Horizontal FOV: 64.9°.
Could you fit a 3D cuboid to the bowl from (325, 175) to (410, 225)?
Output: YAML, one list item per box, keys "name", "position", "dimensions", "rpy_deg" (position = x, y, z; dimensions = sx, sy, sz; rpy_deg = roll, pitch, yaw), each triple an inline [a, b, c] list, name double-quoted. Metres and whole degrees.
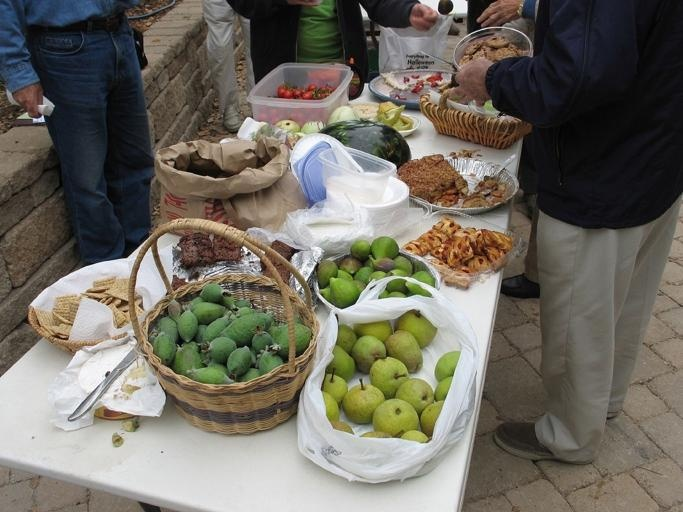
- name: "bowl"
  position: [0.161, -0.307, 2.817]
  dimensions: [0.305, 0.122, 0.308]
  rpy_deg: [6, 29, -4]

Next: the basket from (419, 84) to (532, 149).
- name: "basket"
  position: [0.813, -0.850, 3.437]
  dimensions: [0.493, 0.172, 0.499]
  rpy_deg: [23, 24, 22]

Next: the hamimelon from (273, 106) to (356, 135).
- name: "hamimelon"
  position: [-0.168, -0.857, 3.550]
  dimensions: [0.507, 0.203, 0.238]
  rpy_deg: [-12, 10, 12]

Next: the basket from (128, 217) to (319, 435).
- name: "basket"
  position: [-0.466, 0.301, 2.098]
  dimensions: [0.497, 0.577, 0.476]
  rpy_deg: [23, 53, 20]

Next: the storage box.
- name: "storage box"
  position: [-0.279, -1.146, 3.921]
  dimensions: [0.571, 0.241, 0.697]
  rpy_deg: [7, 36, 12]

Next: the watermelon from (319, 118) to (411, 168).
- name: "watermelon"
  position: [0.128, -0.792, 3.421]
  dimensions: [0.584, 0.198, 0.574]
  rpy_deg: [6, 20, -7]

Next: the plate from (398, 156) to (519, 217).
- name: "plate"
  position: [0.642, -0.409, 3.070]
  dimensions: [0.521, 0.093, 0.455]
  rpy_deg: [19, 42, 22]
